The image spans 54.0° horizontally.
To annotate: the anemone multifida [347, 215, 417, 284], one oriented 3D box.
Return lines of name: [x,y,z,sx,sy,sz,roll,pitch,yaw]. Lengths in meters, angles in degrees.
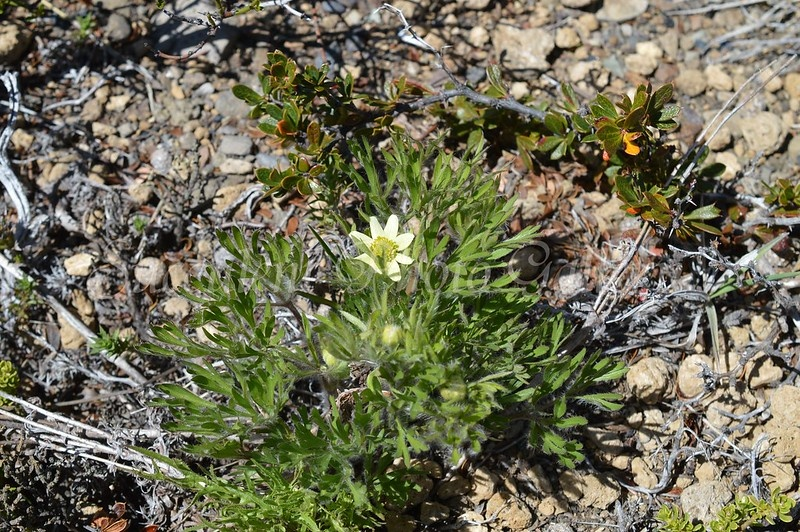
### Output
anemone multifida: [-0.079,-0.090,4.256,0.354,0.195,0.332,39,70,18]
